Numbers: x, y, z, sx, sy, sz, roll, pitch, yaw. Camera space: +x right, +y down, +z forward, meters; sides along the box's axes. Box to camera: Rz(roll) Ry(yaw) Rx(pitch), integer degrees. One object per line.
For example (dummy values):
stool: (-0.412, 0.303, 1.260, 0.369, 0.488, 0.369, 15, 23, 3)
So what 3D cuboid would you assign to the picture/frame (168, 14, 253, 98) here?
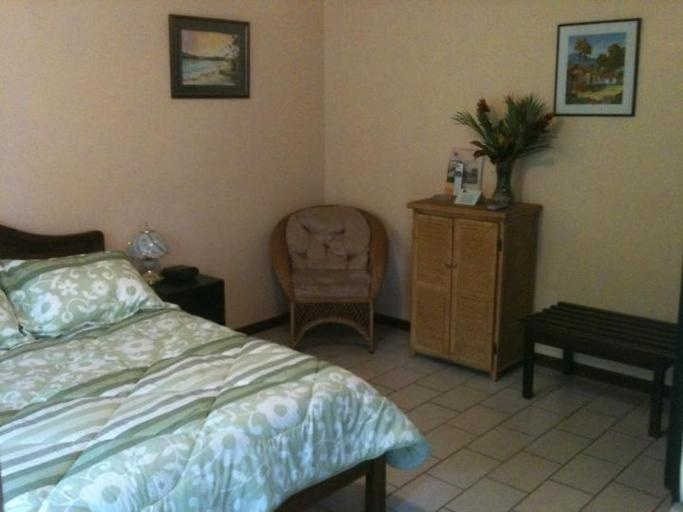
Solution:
picture/frame: (-1.062, -1.594, 4.274, 0.736, 0.627, 0.061, -7, 11, -42)

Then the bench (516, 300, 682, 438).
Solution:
bench: (1.785, 0.517, 3.652, 0.710, 0.577, 1.008, -12, 15, -43)

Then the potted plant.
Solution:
potted plant: (1.183, -0.814, 4.101, 0.449, 0.775, 0.714, -15, 23, -38)

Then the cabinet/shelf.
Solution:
cabinet/shelf: (1.036, 0.233, 4.053, 1.149, 1.543, 0.762, 10, 13, 44)

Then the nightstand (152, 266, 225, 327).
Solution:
nightstand: (-1.180, 0.356, 4.128, 0.450, 0.414, 0.435, -13, 27, -42)

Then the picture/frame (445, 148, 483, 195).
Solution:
picture/frame: (0.995, -0.693, 4.401, 0.284, 0.372, 0.035, 2, 28, 4)

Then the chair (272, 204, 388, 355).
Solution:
chair: (-0.103, 0.176, 4.737, 0.985, 1.126, 0.853, -1, 12, -1)

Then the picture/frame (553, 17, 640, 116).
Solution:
picture/frame: (1.767, -1.315, 3.710, 0.655, 0.764, 0.041, 10, 20, 38)

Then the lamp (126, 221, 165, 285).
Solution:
lamp: (-1.395, 0.005, 3.955, 0.249, 0.373, 0.255, -3, 14, 1)
